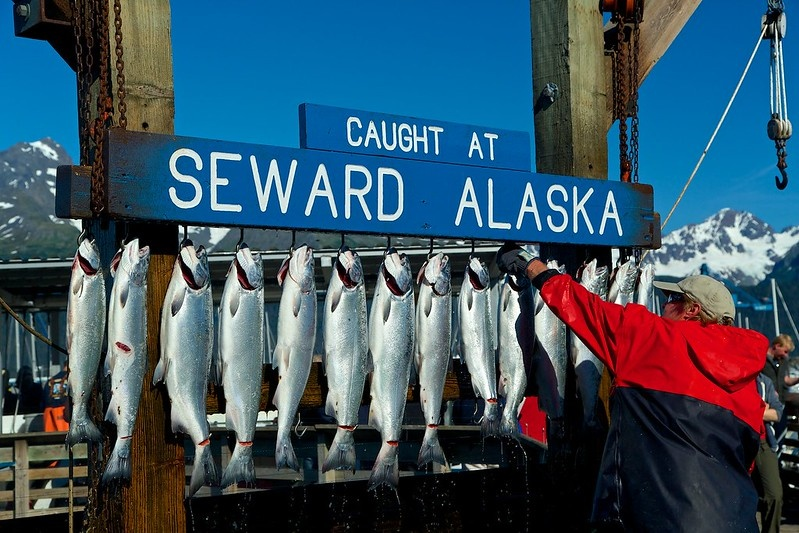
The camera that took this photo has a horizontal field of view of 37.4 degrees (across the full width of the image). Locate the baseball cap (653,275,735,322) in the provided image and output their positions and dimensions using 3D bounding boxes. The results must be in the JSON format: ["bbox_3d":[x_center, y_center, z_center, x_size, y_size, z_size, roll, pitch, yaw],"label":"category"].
[{"bbox_3d":[2.049,0.238,8.110,0.429,0.184,0.290,24,2,11],"label":"baseball cap"}]
